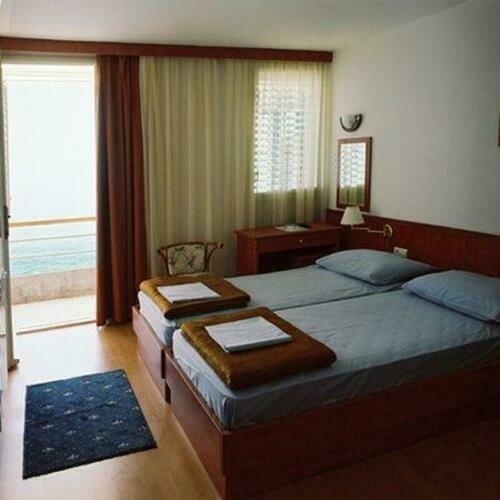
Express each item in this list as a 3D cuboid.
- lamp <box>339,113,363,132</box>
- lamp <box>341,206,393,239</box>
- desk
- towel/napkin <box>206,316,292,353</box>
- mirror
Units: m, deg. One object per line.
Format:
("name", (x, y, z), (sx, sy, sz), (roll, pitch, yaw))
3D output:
("lamp", (1.050, -1.329, 4.353), (0.077, 0.186, 0.388), (-4, 10, -17))
("lamp", (1.131, -0.265, 4.051), (0.465, 0.292, 0.230), (5, 0, -1))
("desk", (0.599, 0.046, 4.433), (0.886, 0.629, 0.362), (-3, 17, 34))
("towel/napkin", (-0.029, 0.437, 2.211), (0.370, 0.041, 0.427), (-6, 11, -23))
("mirror", (1.095, -0.798, 4.404), (0.030, 0.780, 0.541), (-7, 13, -25))
